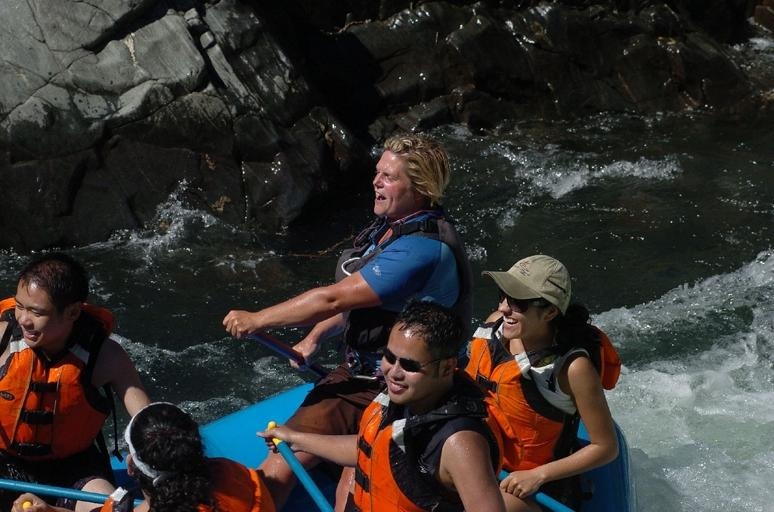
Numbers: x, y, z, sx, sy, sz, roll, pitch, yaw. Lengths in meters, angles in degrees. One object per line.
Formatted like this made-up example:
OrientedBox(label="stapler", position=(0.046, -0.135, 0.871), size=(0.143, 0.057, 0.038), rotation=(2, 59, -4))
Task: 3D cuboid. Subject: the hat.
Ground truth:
OrientedBox(label="hat", position=(1.006, 0.165, 5.134), size=(0.563, 0.269, 0.366), rotation=(14, 12, -25))
